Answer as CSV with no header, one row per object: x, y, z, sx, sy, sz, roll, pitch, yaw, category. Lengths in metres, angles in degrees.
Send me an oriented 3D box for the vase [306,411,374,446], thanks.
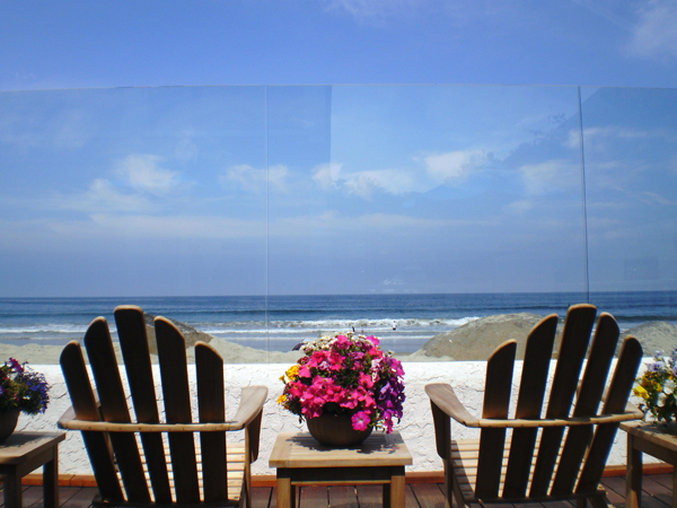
-0.015,1.038,4.069,0.258,0.125,0.262,5,-6,-24,vase

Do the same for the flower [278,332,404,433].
0.035,0.802,4.109,0.618,0.487,0.647,7,-10,-27,flower
